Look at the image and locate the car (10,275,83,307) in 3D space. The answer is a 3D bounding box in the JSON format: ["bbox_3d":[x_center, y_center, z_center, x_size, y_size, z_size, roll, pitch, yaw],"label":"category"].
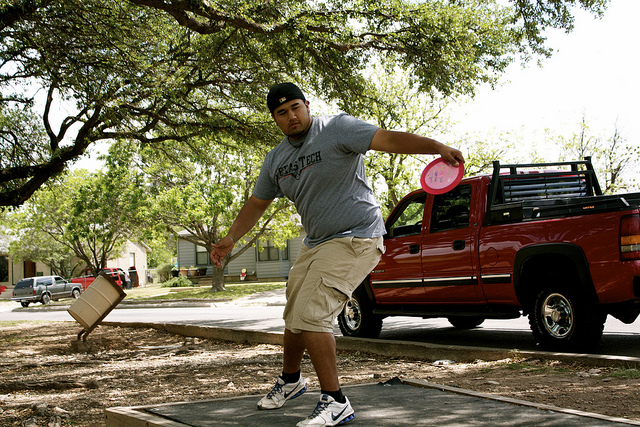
[{"bbox_3d":[-16.625,4.709,32.942,2.731,1.736,3.640,2,-4,-11],"label":"car"}]

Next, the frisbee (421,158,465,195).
[{"bbox_3d":[1.163,-0.363,5.158,0.439,0.330,0.132,-2,-5,34],"label":"frisbee"}]

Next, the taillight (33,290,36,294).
[{"bbox_3d":[-16.466,4.529,31.301,0.056,0.221,0.153,-2,-5,31],"label":"taillight"}]

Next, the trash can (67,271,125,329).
[{"bbox_3d":[-4.401,1.734,11.161,0.697,0.858,1.131,11,29,27],"label":"trash can"}]
